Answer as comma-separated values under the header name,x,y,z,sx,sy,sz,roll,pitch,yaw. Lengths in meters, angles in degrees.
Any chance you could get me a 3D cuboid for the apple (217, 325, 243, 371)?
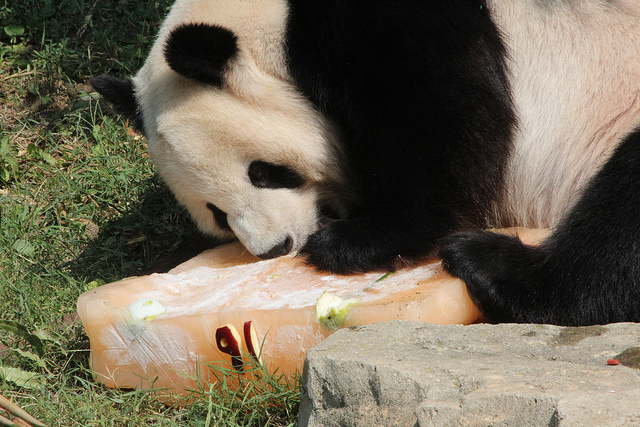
name,x,y,z,sx,sy,sz,roll,pitch,yaw
apple,-0.494,0.740,4.549,0.165,0.232,0.064,14,32,27
